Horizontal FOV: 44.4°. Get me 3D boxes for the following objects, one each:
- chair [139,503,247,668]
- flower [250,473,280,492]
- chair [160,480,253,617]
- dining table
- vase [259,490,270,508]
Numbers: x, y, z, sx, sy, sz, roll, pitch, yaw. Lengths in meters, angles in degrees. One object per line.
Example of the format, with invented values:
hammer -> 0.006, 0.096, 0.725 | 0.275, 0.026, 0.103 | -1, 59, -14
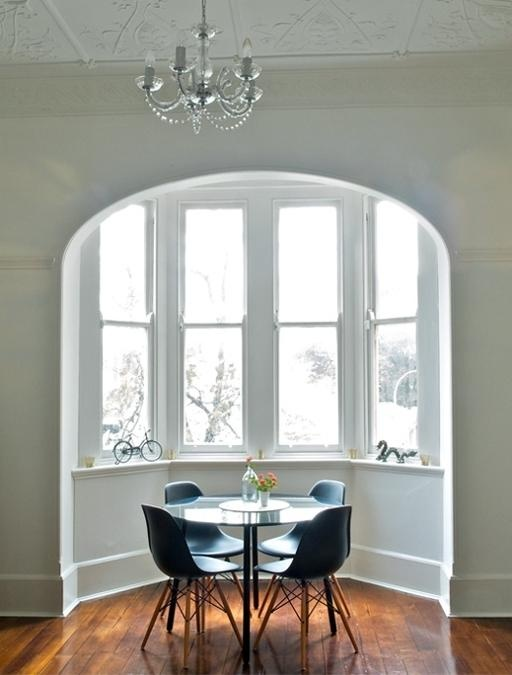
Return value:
chair -> -0.365, 1.372, 3.783 | 0.569, 0.914, 1.120 | 1, 0, -2
flower -> 0.050, 0.860, 3.750 | 0.190, 0.132, 0.189 | 0, 1, 7
chair -> -0.273, 1.171, 3.970 | 0.507, 0.432, 0.451 | -7, -9, 30
dining table -> -0.038, 1.250, 3.602 | 0.967, 0.699, 0.878 | 1, -9, -9
vase -> 0.051, 0.940, 3.651 | 0.081, 0.086, 0.078 | 2, -2, -3
